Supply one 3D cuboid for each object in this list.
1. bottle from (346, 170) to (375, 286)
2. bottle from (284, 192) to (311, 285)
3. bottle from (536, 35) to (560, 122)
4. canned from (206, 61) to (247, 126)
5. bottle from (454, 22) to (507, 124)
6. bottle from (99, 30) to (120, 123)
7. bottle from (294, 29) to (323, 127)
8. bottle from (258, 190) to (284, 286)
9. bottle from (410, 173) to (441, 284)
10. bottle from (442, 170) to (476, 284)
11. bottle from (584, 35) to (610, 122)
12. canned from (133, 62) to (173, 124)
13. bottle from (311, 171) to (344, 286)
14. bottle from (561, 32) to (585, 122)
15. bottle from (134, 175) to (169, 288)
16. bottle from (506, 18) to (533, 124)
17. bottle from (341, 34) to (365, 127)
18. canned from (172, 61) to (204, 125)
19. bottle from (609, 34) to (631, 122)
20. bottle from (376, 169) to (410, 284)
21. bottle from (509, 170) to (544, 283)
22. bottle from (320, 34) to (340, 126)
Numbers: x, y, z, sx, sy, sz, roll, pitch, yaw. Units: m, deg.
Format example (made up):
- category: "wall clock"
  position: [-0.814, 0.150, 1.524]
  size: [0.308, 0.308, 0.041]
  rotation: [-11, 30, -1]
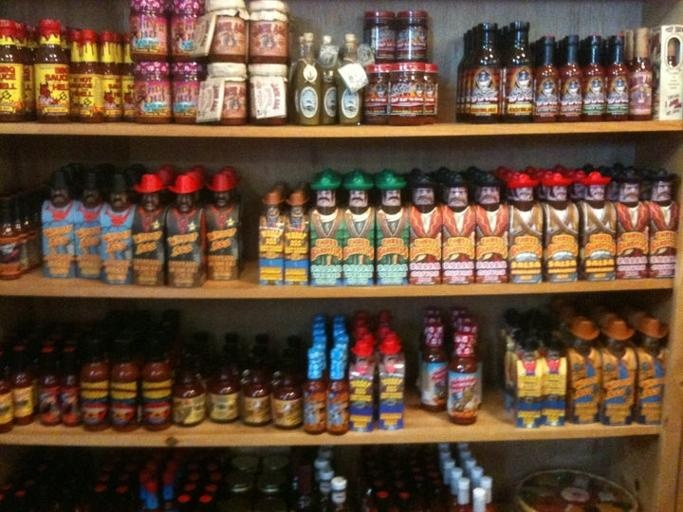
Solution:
- category: "bottle"
  position: [0.061, -0.095, 2.173]
  size: [0.111, 0.375, 0.121]
  rotation: [-3, 12, 1]
- category: "bottle"
  position: [-0.153, -0.068, 2.209]
  size: [0.098, 0.308, 0.155]
  rotation: [-4, 12, -3]
- category: "bottle"
  position: [0.686, -0.587, 2.171]
  size: [0.079, 0.275, 0.149]
  rotation: [0, 12, 18]
- category: "canned"
  position: [-0.360, -0.522, 2.094]
  size: [0.114, 0.198, 0.046]
  rotation: [-6, 12, -12]
- category: "bottle"
  position: [0.468, -0.613, 2.205]
  size: [0.135, 0.324, 0.207]
  rotation: [-3, 12, 1]
- category: "bottle"
  position: [-0.768, -0.595, 2.170]
  size: [0.064, 0.286, 0.065]
  rotation: [-3, 12, 1]
- category: "bottle"
  position: [-0.117, -0.583, 2.160]
  size: [0.100, 0.300, 0.176]
  rotation: [-4, 12, -3]
- category: "bottle"
  position: [-0.218, -0.064, 2.183]
  size: [0.084, 0.313, 0.137]
  rotation: [2, 13, 23]
- category: "bottle"
  position: [0.278, -0.075, 2.152]
  size: [0.112, 0.338, 0.060]
  rotation: [-2, 12, 7]
- category: "bottle"
  position: [0.394, -0.087, 2.171]
  size: [0.108, 0.353, 0.105]
  rotation: [-3, 12, 1]
- category: "bottle"
  position: [0.848, -0.590, 2.178]
  size: [0.078, 0.274, 0.159]
  rotation: [1, 13, 20]
- category: "canned"
  position: [-0.610, -0.531, 2.114]
  size: [0.118, 0.196, 0.040]
  rotation: [-5, 12, -10]
- category: "bottle"
  position: [-0.036, -0.095, 2.178]
  size: [0.107, 0.374, 0.149]
  rotation: [2, 13, 25]
- category: "bottle"
  position: [0.767, -0.589, 2.168]
  size: [0.074, 0.275, 0.143]
  rotation: [1, 13, 18]
- category: "bottle"
  position: [-0.630, -0.088, 2.181]
  size: [0.096, 0.365, 0.140]
  rotation: [6, 15, 36]
- category: "bottle"
  position: [0.586, -0.607, 2.147]
  size: [0.094, 0.324, 0.117]
  rotation: [-1, 12, 13]
- category: "bottle"
  position: [0.029, -0.578, 2.142]
  size: [0.079, 0.292, 0.172]
  rotation: [-3, 12, 1]
- category: "canned"
  position: [-0.505, -0.532, 2.121]
  size: [0.108, 0.200, 0.048]
  rotation: [-2, 12, 6]
- category: "bottle"
  position: [0.913, -0.585, 2.138]
  size: [0.068, 0.271, 0.076]
  rotation: [1, 13, 21]
- category: "bottle"
  position: [0.171, -0.096, 2.167]
  size: [0.115, 0.373, 0.104]
  rotation: [-2, 12, 9]
- category: "bottle"
  position: [0.615, -0.089, 2.167]
  size: [0.116, 0.358, 0.077]
  rotation: [-1, 13, 12]
- category: "bottle"
  position: [-0.040, -0.579, 2.152]
  size: [0.064, 0.288, 0.104]
  rotation: [-3, 12, 1]
